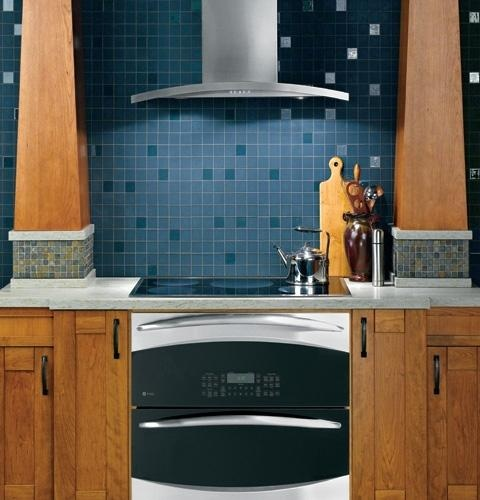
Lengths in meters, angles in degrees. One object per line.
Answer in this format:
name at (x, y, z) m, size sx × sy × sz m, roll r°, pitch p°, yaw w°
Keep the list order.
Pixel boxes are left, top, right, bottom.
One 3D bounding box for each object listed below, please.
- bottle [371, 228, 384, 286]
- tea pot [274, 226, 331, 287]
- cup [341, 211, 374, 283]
bottle at (0.564, 0.033, 3.548) m, size 0.051 × 0.228 × 0.084 m, roll -2°, pitch 0°, yaw 8°
tea pot at (0.276, 0.047, 3.627) m, size 0.191 × 0.262 × 0.183 m, roll 6°, pitch 6°, yaw -1°
cup at (0.497, -0.010, 3.626) m, size 0.116 × 0.277 × 0.089 m, roll -2°, pitch 0°, yaw 8°
